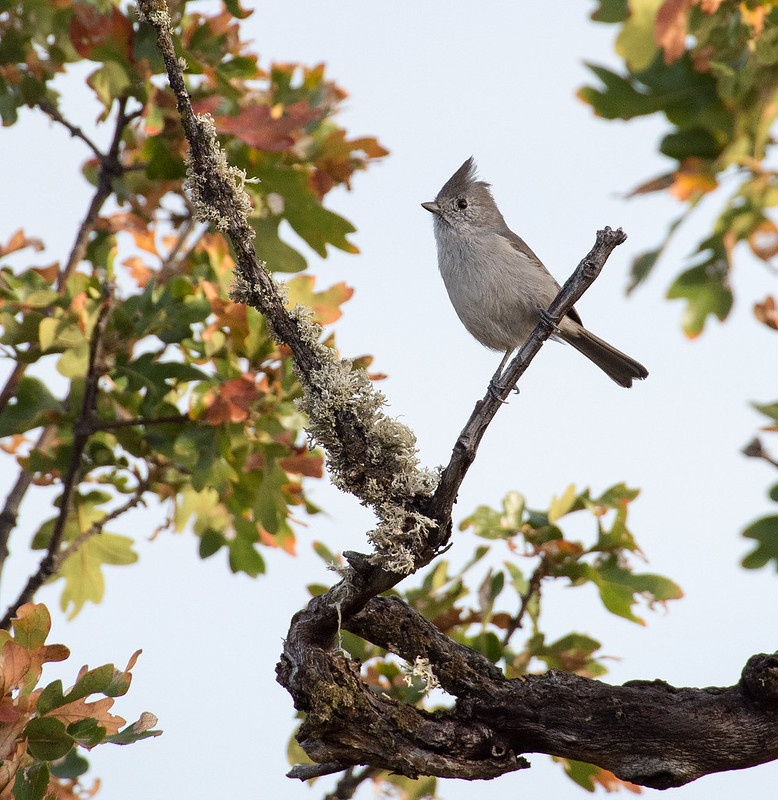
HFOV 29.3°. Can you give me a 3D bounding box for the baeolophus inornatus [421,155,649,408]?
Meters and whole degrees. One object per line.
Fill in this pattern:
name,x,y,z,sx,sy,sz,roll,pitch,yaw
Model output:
baeolophus inornatus,0.591,-0.469,6.243,1.050,0.348,0.812,13,-102,-21
